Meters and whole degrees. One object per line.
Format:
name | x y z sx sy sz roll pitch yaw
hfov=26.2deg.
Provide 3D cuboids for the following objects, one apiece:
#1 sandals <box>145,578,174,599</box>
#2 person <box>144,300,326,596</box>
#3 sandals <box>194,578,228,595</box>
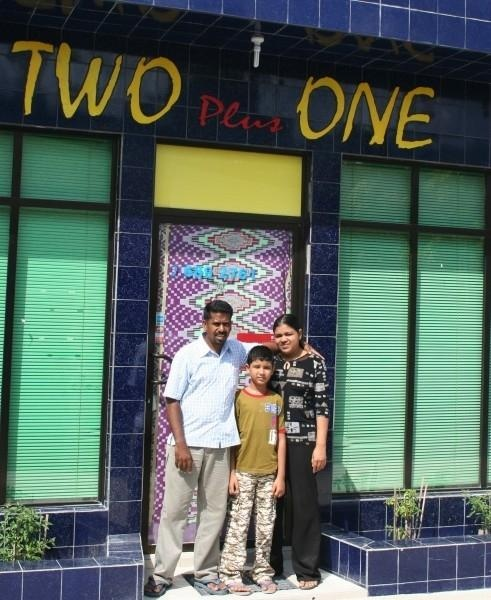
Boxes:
sandals | -0.591 1.936 7.109 0.153 0.124 0.213 0 -9 9
person | -0.322 1.016 7.148 0.668 1.960 0.520 1 -9 -1
sandals | -0.246 1.938 7.115 0.246 0.101 0.084 -5 -19 35
